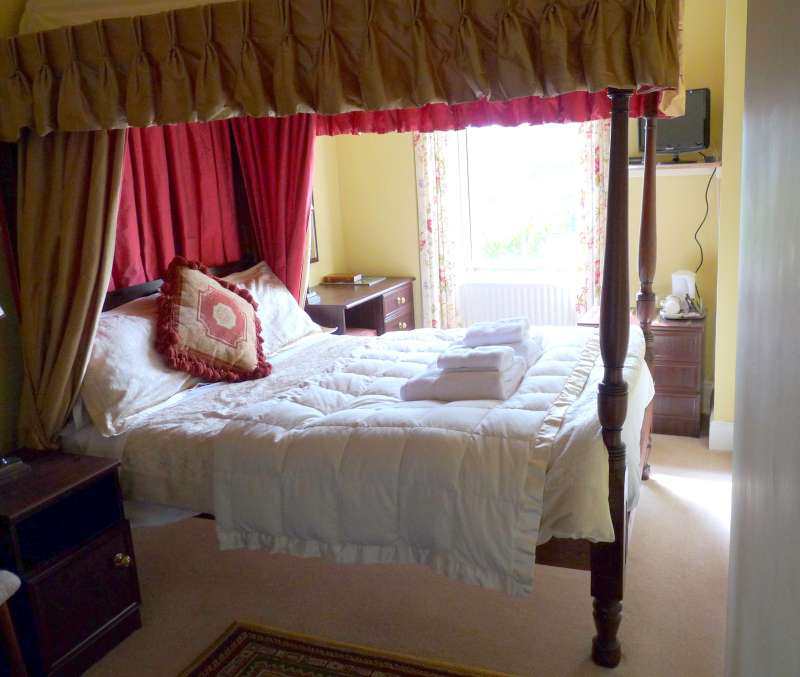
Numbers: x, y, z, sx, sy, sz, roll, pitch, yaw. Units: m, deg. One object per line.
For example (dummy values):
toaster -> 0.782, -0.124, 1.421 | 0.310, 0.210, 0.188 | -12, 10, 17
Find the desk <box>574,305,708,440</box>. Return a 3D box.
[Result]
desk -> 1.443, 0.273, 4.314 | 0.661, 1.174, 0.685 | 1, 13, 20
